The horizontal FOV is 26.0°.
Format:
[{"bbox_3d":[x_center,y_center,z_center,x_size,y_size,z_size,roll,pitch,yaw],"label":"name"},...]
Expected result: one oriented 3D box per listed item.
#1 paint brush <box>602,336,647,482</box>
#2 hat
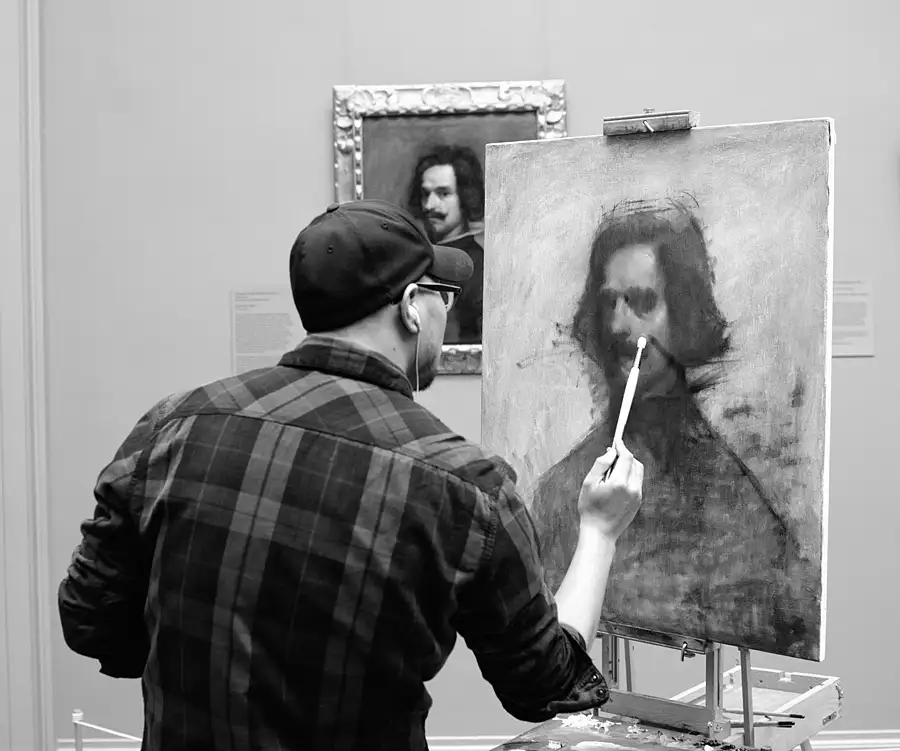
[{"bbox_3d":[0.467,0.103,5.297,0.046,0.396,0.034,14,-3,37],"label":"paint brush"},{"bbox_3d":[-0.194,-0.260,4.862,0.381,0.222,0.277,-29,26,-11],"label":"hat"}]
